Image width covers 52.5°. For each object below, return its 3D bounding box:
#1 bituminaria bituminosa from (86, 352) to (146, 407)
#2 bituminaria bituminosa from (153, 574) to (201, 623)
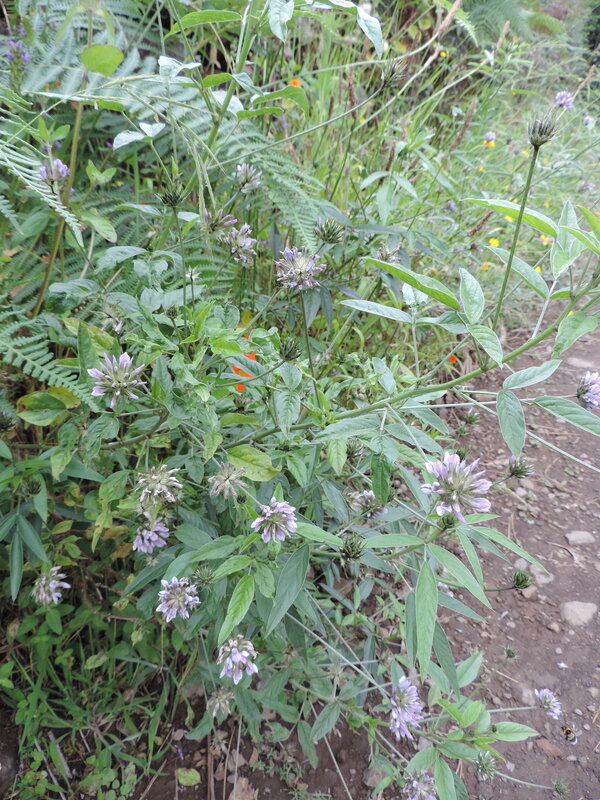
[{"bbox_3d":[-0.415,-0.044,1.398,0.124,0.122,0.070,40,-13,-31],"label":"bituminaria bituminosa"},{"bbox_3d":[-0.329,0.510,1.571,0.145,0.055,0.131,-6,71,-20],"label":"bituminaria bituminosa"}]
